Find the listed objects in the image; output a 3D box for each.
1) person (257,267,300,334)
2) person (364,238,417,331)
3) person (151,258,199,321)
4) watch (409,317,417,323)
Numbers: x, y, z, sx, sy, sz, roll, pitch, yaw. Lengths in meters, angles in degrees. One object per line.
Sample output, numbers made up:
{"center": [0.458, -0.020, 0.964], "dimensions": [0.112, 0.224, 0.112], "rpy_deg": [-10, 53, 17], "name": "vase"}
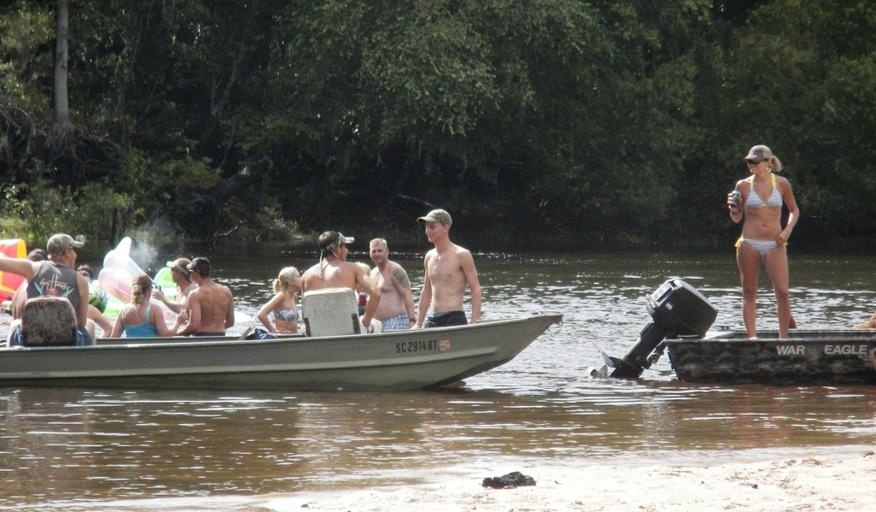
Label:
{"center": [-4.339, 1.293, 42.807], "dimensions": [0.944, 2.020, 0.926], "rpy_deg": [0, 0, -17], "name": "person"}
{"center": [-1.292, 0.792, 42.677], "dimensions": [1.170, 2.441, 1.120], "rpy_deg": [-1, 0, -1], "name": "person"}
{"center": [-7.175, 0.872, 42.937], "dimensions": [0.939, 1.825, 1.086], "rpy_deg": [0, -1, -21], "name": "person"}
{"center": [-0.689, 1.729, 42.171], "dimensions": [0.126, 0.088, 0.121], "rpy_deg": [5, -6, -34], "name": "watch"}
